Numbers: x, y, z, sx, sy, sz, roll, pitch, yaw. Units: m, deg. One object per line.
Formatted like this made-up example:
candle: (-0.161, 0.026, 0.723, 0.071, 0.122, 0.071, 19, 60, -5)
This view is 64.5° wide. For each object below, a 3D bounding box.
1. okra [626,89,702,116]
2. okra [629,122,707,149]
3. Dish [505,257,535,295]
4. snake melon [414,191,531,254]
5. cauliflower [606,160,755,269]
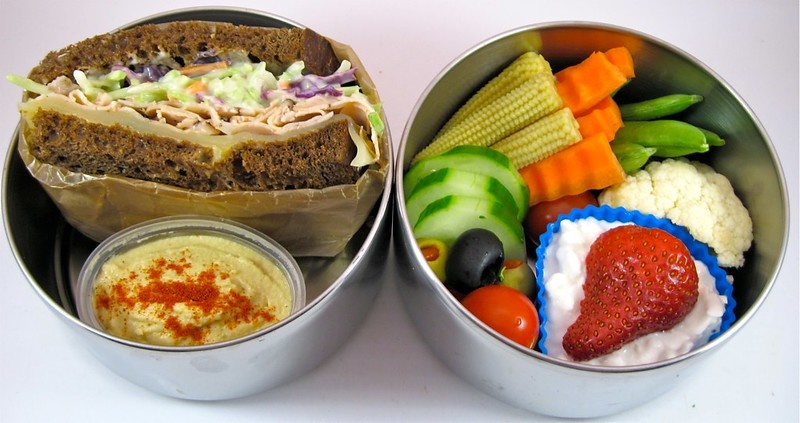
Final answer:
okra: (1.024, -0.411, 2.554, 0.343, 0.089, 0.090, -10, 2, 19)
okra: (1.062, -0.290, 2.502, 0.205, 0.130, 0.226, 1, 0, -40)
Dish: (0.456, 0.250, 2.471, 0.131, 0.142, 0.126, -10, 12, 1)
snake melon: (0.269, 0.050, 2.451, 0.420, 0.275, 0.061, 7, 54, 11)
cauliflower: (1.079, -0.015, 2.463, 0.396, 0.430, 0.463, 2, 1, 3)
